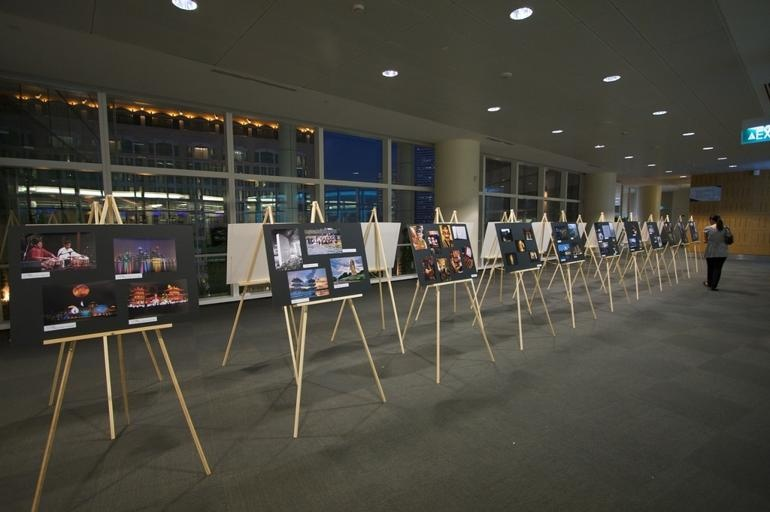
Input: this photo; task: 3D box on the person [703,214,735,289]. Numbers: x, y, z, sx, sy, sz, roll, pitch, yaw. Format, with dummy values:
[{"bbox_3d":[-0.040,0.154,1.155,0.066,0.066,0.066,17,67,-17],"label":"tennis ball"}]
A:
[{"bbox_3d":[8.405,-0.131,12.828,0.568,1.818,1.372,0,5,34],"label":"person"}]
